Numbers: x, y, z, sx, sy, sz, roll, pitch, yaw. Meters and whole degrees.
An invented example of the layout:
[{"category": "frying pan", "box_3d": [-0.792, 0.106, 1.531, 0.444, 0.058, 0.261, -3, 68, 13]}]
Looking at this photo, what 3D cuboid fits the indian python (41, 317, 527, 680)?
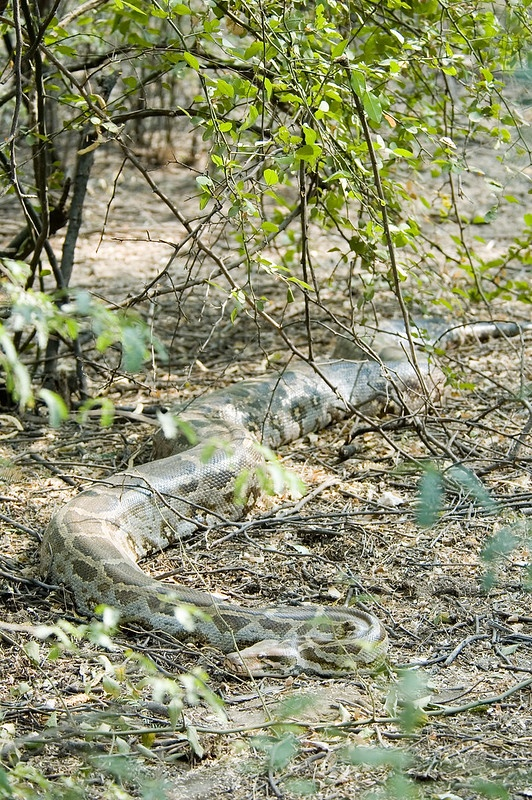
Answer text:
[{"category": "indian python", "box_3d": [-0.086, 0.488, 6.277, 1.807, 0.368, 3.459, 7, 19, 30]}]
